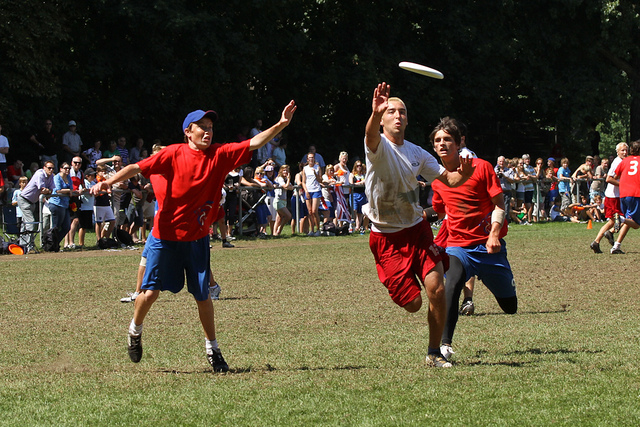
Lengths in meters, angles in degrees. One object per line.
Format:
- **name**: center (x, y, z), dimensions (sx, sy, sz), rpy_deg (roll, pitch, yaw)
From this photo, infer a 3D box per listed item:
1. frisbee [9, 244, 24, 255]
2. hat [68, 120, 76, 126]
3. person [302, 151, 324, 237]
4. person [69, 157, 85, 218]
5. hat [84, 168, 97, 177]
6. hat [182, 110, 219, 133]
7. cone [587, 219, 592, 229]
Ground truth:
- **frisbee**: center (-7.040, 0.845, 20.853), dimensions (0.365, 0.222, 0.097), rpy_deg (7, 12, 25)
- **hat**: center (-7.237, -2.654, 26.306), dimensions (0.236, 0.122, 0.345), rpy_deg (1, 3, -7)
- **person**: center (-0.226, -0.458, 24.598), dimensions (0.591, 2.284, 0.796), rpy_deg (2, 11, -1)
- **person**: center (-5.888, -0.629, 21.809), dimensions (0.363, 1.486, 1.559), rpy_deg (-1, 11, -15)
- **hat**: center (-5.695, -1.021, 22.306), dimensions (0.226, 0.107, 0.231), rpy_deg (-5, -3, 5)
- **hat**: center (-1.643, -1.285, 11.955), dimensions (0.397, 0.211, 0.267), rpy_deg (-39, -13, 24)
- **cone**: center (7.815, 0.325, 26.320), dimensions (0.193, 0.216, 0.193), rpy_deg (1, 4, 39)
